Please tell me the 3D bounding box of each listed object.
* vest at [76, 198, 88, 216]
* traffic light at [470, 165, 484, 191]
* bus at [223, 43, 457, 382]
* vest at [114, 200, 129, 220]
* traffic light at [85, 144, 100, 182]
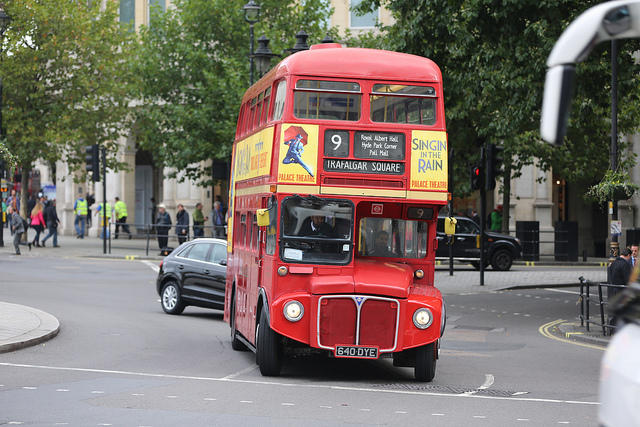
[{"bbox_3d":[-12.687,-0.334,51.234,0.476,0.820,0.715,2,-3,-15],"label":"vest"},{"bbox_3d":[5.033,-1.176,30.722,0.400,0.792,0.442,1,-3,8],"label":"traffic light"},{"bbox_3d":[0.373,0.137,18.923,3.131,5.341,8.176,0,-2,-10],"label":"bus"},{"bbox_3d":[-10.108,-0.188,48.764,0.577,0.905,1.061,2,-3,-13],"label":"vest"},{"bbox_3d":[-9.395,-2.149,39.734,0.544,1.508,1.022,2,-3,-15],"label":"traffic light"}]
